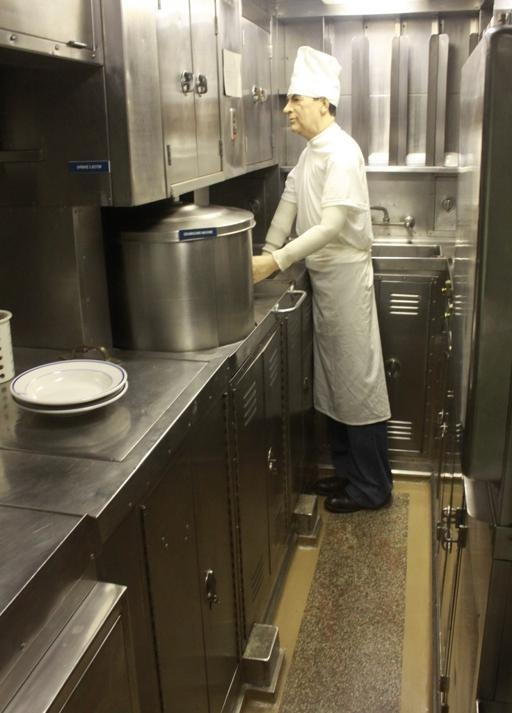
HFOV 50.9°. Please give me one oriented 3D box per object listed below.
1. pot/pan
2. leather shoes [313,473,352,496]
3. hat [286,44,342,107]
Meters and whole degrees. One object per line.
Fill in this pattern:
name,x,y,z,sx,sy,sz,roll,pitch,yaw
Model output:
pot/pan,-0.213,-0.266,1.518,0.337,0.404,0.349,15,24,41
leather shoes,0.383,0.626,2.680,0.151,0.098,0.085,4,12,-13
hat,0.238,-1.163,2.305,0.216,0.263,0.193,23,23,-12
